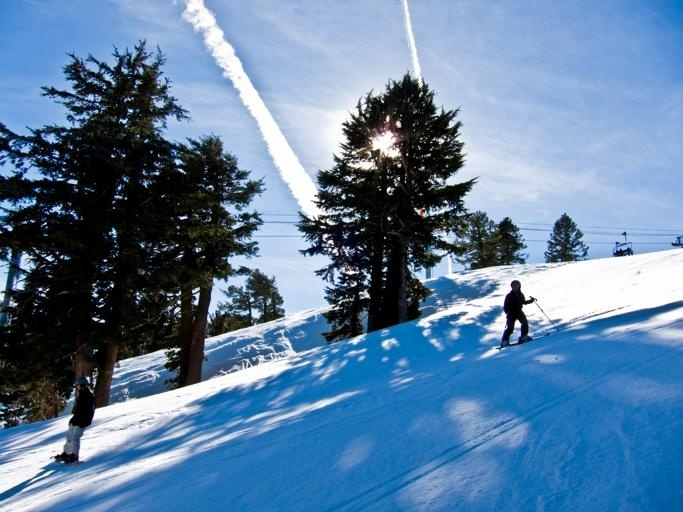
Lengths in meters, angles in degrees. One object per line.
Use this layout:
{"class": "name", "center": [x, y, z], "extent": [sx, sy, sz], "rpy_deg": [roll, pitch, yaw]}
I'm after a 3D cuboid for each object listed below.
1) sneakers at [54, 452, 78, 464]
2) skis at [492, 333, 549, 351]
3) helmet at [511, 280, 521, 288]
{"class": "sneakers", "center": [-5.445, 4.022, 9.133], "extent": [0.285, 0.077, 0.271], "rpy_deg": [12, -14, -32]}
{"class": "skis", "center": [4.638, 2.234, 11.856], "extent": [1.176, 0.179, 0.130], "rpy_deg": [-17, 26, 17]}
{"class": "helmet", "center": [4.762, 0.784, 12.633], "extent": [0.244, 0.214, 0.283], "rpy_deg": [2, -20, 3]}
